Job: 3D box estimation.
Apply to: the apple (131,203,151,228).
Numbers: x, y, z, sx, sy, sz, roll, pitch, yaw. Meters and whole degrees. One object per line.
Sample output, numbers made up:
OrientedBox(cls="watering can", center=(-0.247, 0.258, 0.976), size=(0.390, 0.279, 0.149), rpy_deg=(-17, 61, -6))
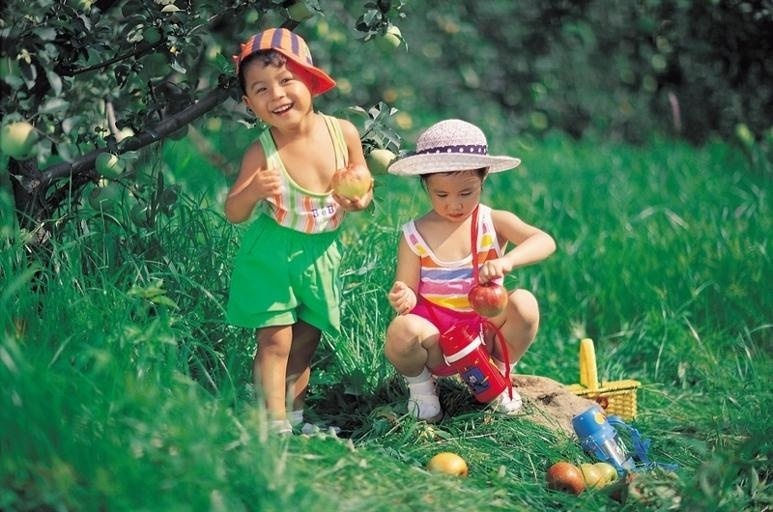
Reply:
OrientedBox(cls="apple", center=(-1.198, -0.198, 3.327), size=(0.072, 0.102, 0.095), rpy_deg=(13, -11, -35))

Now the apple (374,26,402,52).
OrientedBox(cls="apple", center=(0.021, -0.977, 3.079), size=(0.100, 0.097, 0.188), rpy_deg=(5, 12, 8))

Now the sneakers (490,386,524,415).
OrientedBox(cls="sneakers", center=(0.533, 0.640, 2.966), size=(0.114, 0.054, 0.113), rpy_deg=(-13, 21, -33))

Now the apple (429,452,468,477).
OrientedBox(cls="apple", center=(0.228, 0.792, 2.593), size=(0.113, 0.099, 0.094), rpy_deg=(2, -30, 22))

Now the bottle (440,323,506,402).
OrientedBox(cls="bottle", center=(0.391, 0.461, 2.974), size=(0.312, 0.345, 0.200), rpy_deg=(5, 11, 11))

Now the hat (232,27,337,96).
OrientedBox(cls="hat", center=(-0.415, -0.851, 2.873), size=(0.347, 0.198, 0.283), rpy_deg=(9, -20, 13))

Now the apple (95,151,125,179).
OrientedBox(cls="apple", center=(-1.252, -0.405, 3.086), size=(0.116, 0.126, 0.130), rpy_deg=(-3, 13, -27))

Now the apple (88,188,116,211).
OrientedBox(cls="apple", center=(-1.323, -0.262, 3.181), size=(0.084, 0.090, 0.109), rpy_deg=(-7, 3, -5))

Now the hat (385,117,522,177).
OrientedBox(cls="hat", center=(0.322, -0.510, 2.996), size=(0.495, 0.195, 0.455), rpy_deg=(-2, 19, 9))

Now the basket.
OrientedBox(cls="basket", center=(1.034, 0.588, 3.320), size=(0.392, 0.424, 0.300), rpy_deg=(-2, -3, -6))

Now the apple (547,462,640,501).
OrientedBox(cls="apple", center=(0.769, 0.826, 2.573), size=(0.272, 0.115, 0.137), rpy_deg=(9, -7, -15))

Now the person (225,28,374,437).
OrientedBox(cls="person", center=(-0.375, -0.073, 2.879), size=(0.593, 1.709, 0.435), rpy_deg=(0, 11, -14))

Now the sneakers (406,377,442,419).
OrientedBox(cls="sneakers", center=(0.163, 0.626, 2.973), size=(0.104, 0.140, 0.210), rpy_deg=(-1, -5, 8))

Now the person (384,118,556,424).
OrientedBox(cls="person", center=(0.365, 0.030, 3.014), size=(0.692, 1.232, 0.703), rpy_deg=(-2, 12, -1))
